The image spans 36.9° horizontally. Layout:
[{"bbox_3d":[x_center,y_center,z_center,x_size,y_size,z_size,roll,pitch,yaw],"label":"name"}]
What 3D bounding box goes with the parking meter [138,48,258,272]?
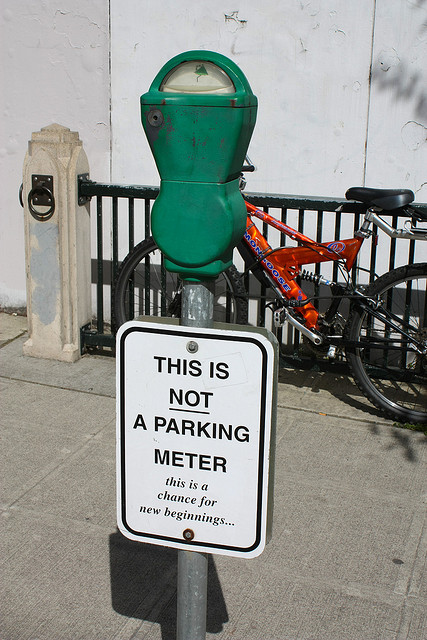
[{"bbox_3d":[-0.026,-0.285,1.197,0.203,0.399,0.156,8,18,19],"label":"parking meter"}]
